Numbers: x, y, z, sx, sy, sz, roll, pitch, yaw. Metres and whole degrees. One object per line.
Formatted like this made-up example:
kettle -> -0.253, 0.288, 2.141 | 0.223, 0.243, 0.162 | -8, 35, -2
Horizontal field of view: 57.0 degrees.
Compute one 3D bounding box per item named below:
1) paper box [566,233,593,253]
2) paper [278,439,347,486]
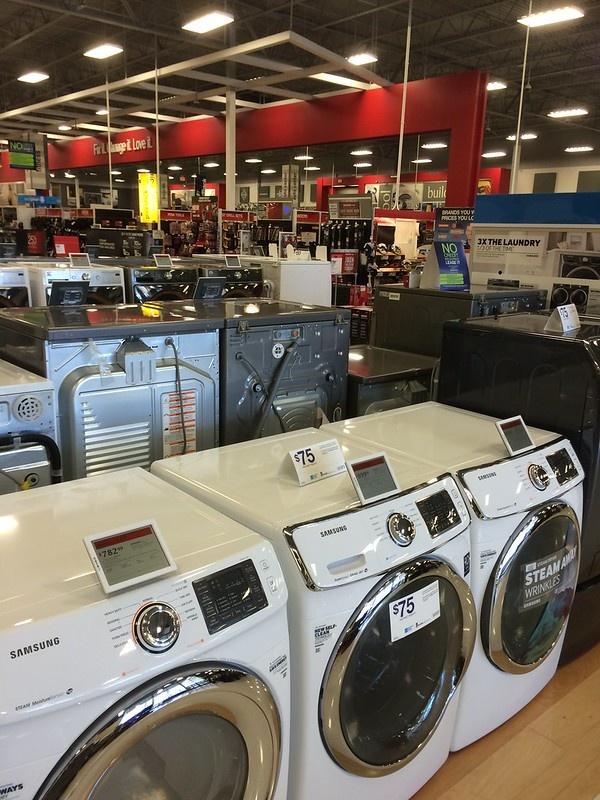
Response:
paper box -> 2.141, -1.192, 4.186 | 0.081, 0.143, 0.154 | -11, 19, -31
paper -> 0.050, 0.178, 1.622 | 0.219, 0.116, 0.114 | -20, 24, -35
